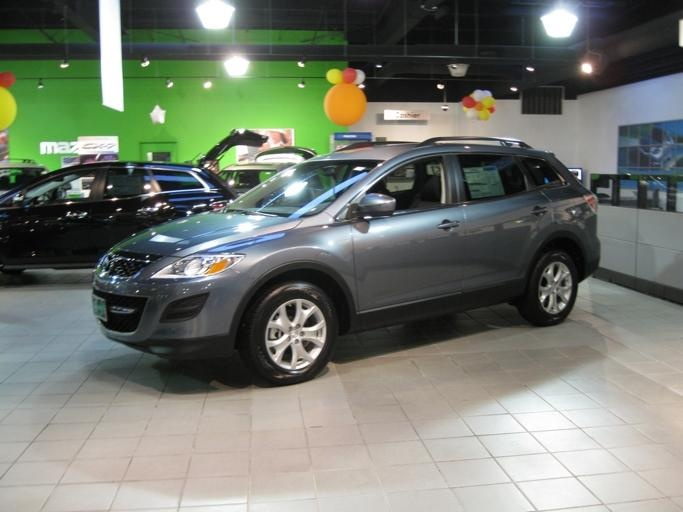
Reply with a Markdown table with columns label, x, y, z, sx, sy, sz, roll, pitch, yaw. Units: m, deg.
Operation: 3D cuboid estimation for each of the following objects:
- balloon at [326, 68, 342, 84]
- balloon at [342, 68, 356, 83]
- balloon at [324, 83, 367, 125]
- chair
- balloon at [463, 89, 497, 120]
| label | x | y | z | sx | sy | sz | roll | pitch | yaw |
| --- | --- | --- | --- | --- | --- | --- | --- | --- | --- |
| balloon | -0.231 | -5.239 | 12.519 | 0.386 | 0.485 | 0.496 | -5 | 10 | -21 |
| balloon | 0.222 | -5.068 | 12.148 | 0.556 | 0.332 | 0.399 | 4 | 15 | 10 |
| balloon | 0.094 | -4.258 | 11.972 | 1.053 | 1.108 | 0.586 | -2 | 10 | -5 |
| chair | 0.500 | -0.585 | 3.949 | 0.734 | 0.372 | 0.332 | 2 | 4 | -7 |
| balloon | 5.029 | -5.506 | 15.754 | 0.949 | 1.024 | 0.893 | 3 | 10 | 24 |
